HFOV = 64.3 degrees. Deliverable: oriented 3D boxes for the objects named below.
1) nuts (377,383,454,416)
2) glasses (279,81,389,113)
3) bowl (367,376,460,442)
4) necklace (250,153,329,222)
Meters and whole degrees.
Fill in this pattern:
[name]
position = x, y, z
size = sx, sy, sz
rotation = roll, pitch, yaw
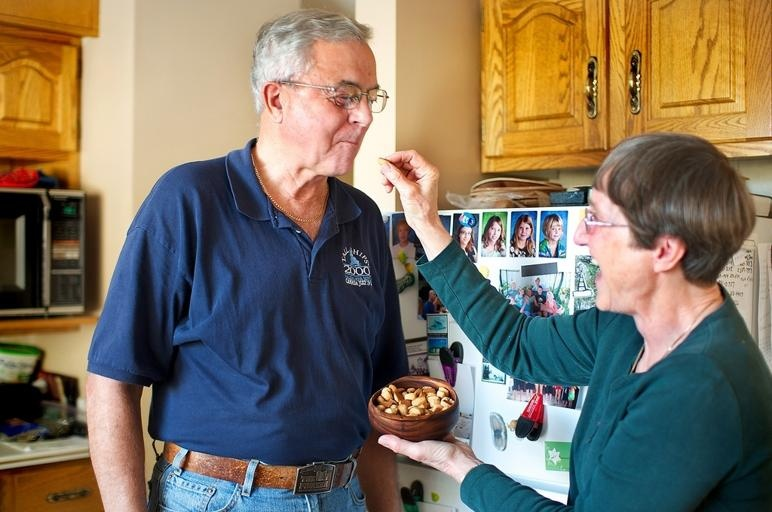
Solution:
[nuts]
position = 0.069, 0.374, 1.601
size = 0.124, 0.067, 0.163
rotation = -2, 3, 8
[glasses]
position = -0.140, -0.382, 1.483
size = 0.168, 0.047, 0.162
rotation = 6, 4, 41
[bowl]
position = 0.072, 0.373, 1.594
size = 0.310, 0.127, 0.347
rotation = 0, -1, -1
[necklace]
position = -0.247, -0.185, 1.601
size = 0.166, 0.175, 0.200
rotation = -3, 11, -28
